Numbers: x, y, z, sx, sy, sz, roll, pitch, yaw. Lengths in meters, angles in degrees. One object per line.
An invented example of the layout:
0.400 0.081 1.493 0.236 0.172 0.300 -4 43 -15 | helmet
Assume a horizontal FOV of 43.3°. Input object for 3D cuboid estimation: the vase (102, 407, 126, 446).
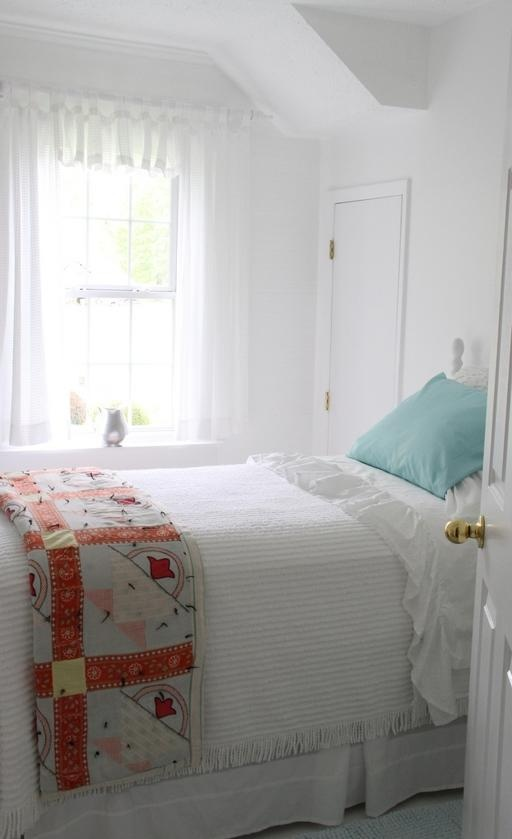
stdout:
-0.734 0.037 3.335 0.138 0.211 0.163 -2 13 -19 | vase
